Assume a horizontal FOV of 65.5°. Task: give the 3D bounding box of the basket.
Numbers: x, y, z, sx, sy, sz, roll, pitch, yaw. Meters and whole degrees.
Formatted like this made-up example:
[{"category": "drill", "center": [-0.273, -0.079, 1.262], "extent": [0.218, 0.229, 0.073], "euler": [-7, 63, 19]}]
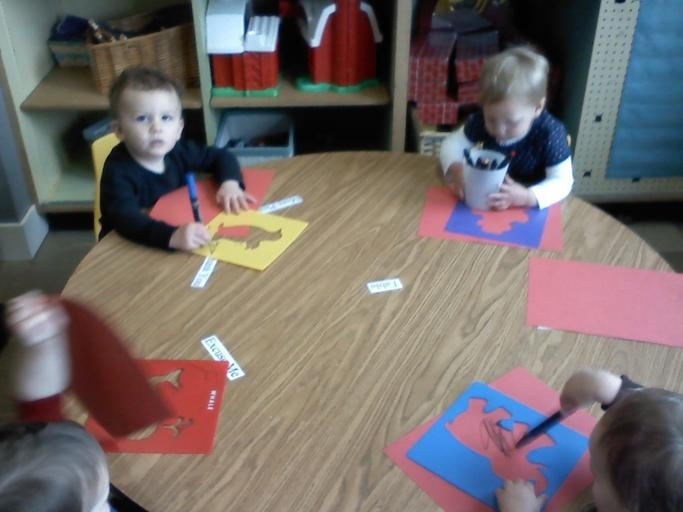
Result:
[{"category": "basket", "center": [-0.834, -0.873, 2.383], "extent": [0.412, 0.274, 0.583], "euler": [-15, 24, 2]}]
